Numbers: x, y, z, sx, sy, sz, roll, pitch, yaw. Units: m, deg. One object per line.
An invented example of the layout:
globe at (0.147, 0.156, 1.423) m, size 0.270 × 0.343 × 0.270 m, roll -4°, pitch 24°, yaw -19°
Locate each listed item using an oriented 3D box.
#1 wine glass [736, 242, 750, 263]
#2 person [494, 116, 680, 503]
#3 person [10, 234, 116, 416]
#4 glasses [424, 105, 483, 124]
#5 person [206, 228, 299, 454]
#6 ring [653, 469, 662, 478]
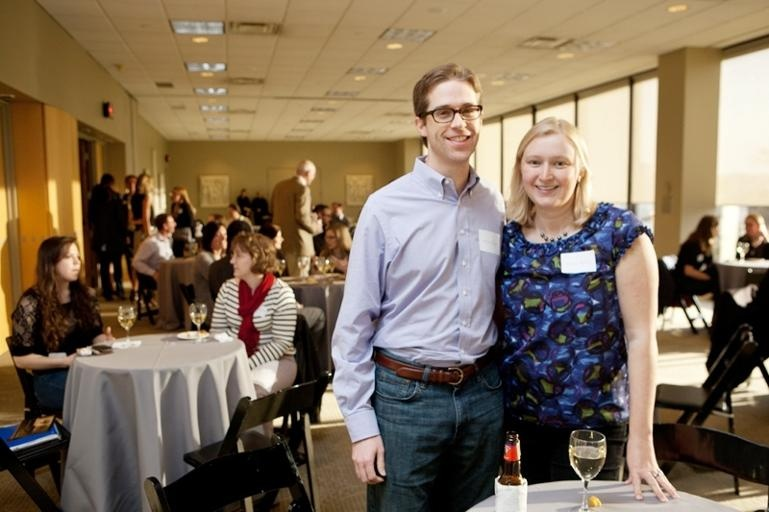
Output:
wine glass at (4.560, -0.050, 8.019) m, size 0.203 × 0.265 × 0.079 m, roll 4°, pitch -1°, yaw -5°
person at (1.004, 0.233, 3.208) m, size 0.846 × 1.902 × 0.378 m, roll -2°, pitch 5°, yaw 24°
person at (-2.498, 0.514, 4.771) m, size 0.674 × 1.328 × 0.510 m, roll -7°, pitch 6°, yaw -32°
glasses at (0.344, -0.712, 3.160) m, size 0.310 × 0.088 × 0.111 m, roll -4°, pitch 4°, yaw 0°
person at (-1.119, 0.634, 5.068) m, size 0.833 × 1.581 × 0.704 m, roll -6°, pitch 7°, yaw -43°
ring at (1.334, 1.057, 3.050) m, size 0.034 × 0.011 × 0.037 m, roll -12°, pitch 2°, yaw 0°
